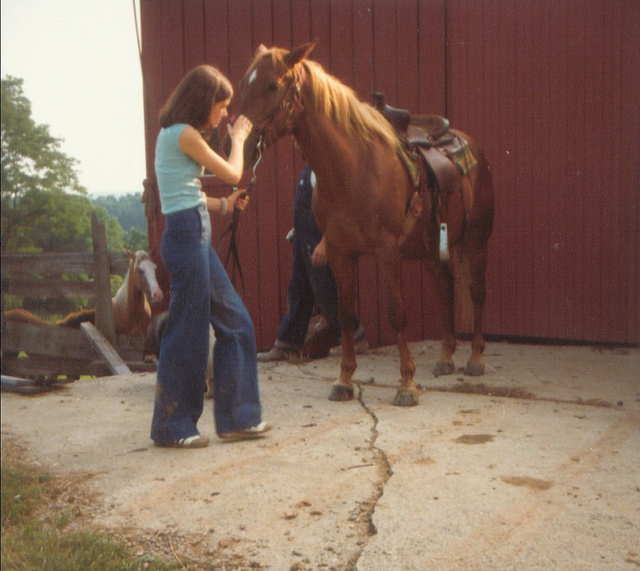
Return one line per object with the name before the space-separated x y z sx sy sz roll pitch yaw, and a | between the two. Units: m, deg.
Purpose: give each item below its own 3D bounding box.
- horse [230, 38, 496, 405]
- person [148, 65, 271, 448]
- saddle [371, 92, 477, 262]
horse | 0.416 -0.378 4.986 0.694 2.263 2.430 4 9 38
person | -0.617 -0.150 3.951 0.600 1.979 0.272 -3 6 -21
saddle | 0.733 -0.696 5.309 0.456 1.058 1.372 -2 -1 44
